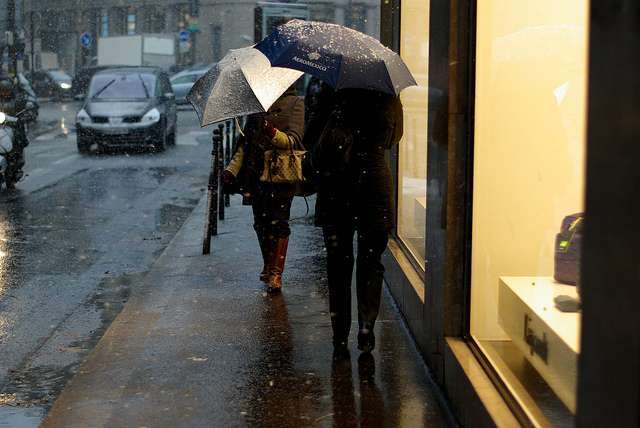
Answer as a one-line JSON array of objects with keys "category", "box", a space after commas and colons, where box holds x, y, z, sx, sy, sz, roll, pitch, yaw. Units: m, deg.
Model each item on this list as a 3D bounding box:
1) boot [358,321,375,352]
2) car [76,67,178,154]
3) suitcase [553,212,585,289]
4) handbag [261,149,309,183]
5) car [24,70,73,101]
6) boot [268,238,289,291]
[{"category": "boot", "box": [0.341, 0.922, 5.375, 0.087, 0.247, 0.112, 0, 48, 1]}, {"category": "car", "box": [-4.993, -2.862, 19.603, 1.769, 1.580, 3.181, 0, 4, -2]}, {"category": "suitcase", "box": [1.312, 0.181, 3.853, 0.074, 0.400, 0.250, -4, 11, -3]}, {"category": "handbag", "box": [-0.308, -0.429, 6.341, 0.279, 0.313, 0.123, 2, 23, 0]}, {"category": "car", "box": [-13.880, -6.685, 37.242, 2.040, 1.584, 3.156, -8, 13, -20]}, {"category": "boot", "box": [-0.436, 0.463, 7.013, 0.237, 0.524, 0.259, -9, 12, -23]}]
